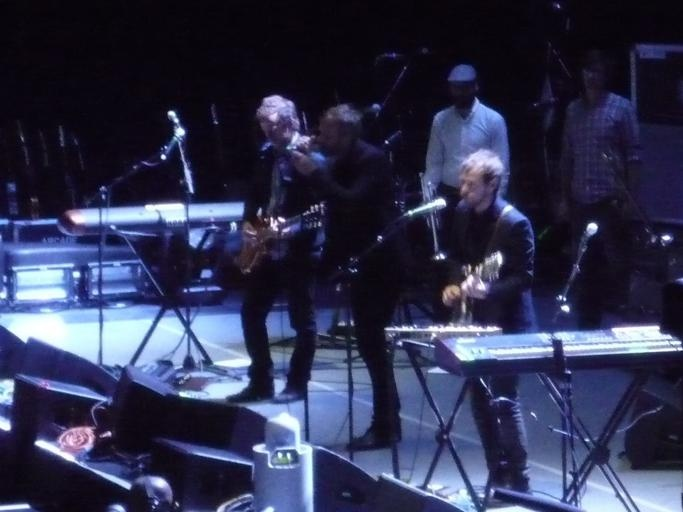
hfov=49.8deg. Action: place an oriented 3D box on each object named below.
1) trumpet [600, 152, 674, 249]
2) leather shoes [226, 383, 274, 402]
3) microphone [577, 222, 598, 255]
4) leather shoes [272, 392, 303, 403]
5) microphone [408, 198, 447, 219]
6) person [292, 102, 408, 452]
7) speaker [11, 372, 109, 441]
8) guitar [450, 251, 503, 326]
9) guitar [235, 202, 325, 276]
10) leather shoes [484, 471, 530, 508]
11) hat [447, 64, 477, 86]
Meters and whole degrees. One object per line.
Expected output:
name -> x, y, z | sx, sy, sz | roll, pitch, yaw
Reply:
trumpet -> 2.380, -0.448, 6.095 | 0.372, 1.057, 0.146 | -28, 1, -5
leather shoes -> -0.624, 0.964, 5.178 | 0.364, 0.149, 0.125 | 1, 0, -1
microphone -> 1.770, -0.118, 5.277 | 0.079, 0.272, 0.088 | 20, 15, -4
leather shoes -> -0.382, 0.985, 5.112 | 0.217, 0.090, 0.074 | 2, -3, -10
microphone -> 0.487, -0.265, 4.050 | 0.220, 0.098, 0.258 | 1, 6, 31
person -> 0.072, 0.141, 4.412 | 0.575, 2.094, 0.396 | -1, 6, 8
speaker -> -1.572, 0.768, 3.952 | 0.395, 0.329, 0.510 | 3, 7, 43
guitar -> 0.777, 0.144, 4.152 | 0.161, 0.604, 0.150 | 17, -32, 17
guitar -> -0.413, -0.172, 4.934 | 0.485, 0.508, 0.152 | 12, 1, 19
leather shoes -> 0.884, 1.239, 3.894 | 0.228, 0.242, 0.243 | 0, 6, 14
hat -> 0.927, -1.397, 5.657 | 0.196, 0.166, 0.256 | -1, 5, 9
